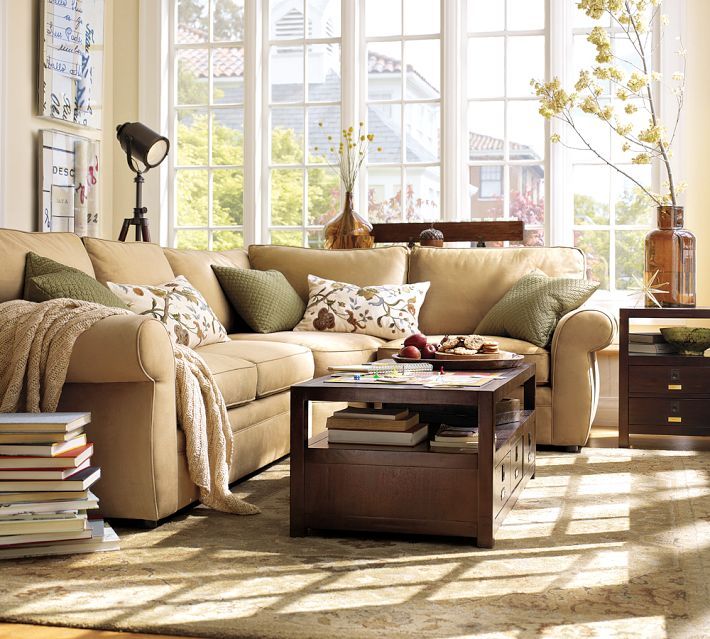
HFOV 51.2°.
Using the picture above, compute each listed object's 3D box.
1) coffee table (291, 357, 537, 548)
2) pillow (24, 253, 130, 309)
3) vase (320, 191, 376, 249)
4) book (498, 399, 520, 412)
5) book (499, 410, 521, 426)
[{"bbox_3d":[0.178,0.461,2.348,0.515,0.353,0.770,0,1,20],"label":"coffee table"},{"bbox_3d":[-1.020,-0.143,2.640,0.251,0.193,0.376,-1,1,8],"label":"pillow"},{"bbox_3d":[-0.042,-0.595,4.673,0.391,0.387,0.380,0,1,-4],"label":"vase"},{"bbox_3d":[0.562,0.313,2.702,0.064,0.038,0.090,3,-4,-28],"label":"book"},{"bbox_3d":[0.561,0.345,2.675,0.053,0.042,0.100,0,4,32],"label":"book"}]
